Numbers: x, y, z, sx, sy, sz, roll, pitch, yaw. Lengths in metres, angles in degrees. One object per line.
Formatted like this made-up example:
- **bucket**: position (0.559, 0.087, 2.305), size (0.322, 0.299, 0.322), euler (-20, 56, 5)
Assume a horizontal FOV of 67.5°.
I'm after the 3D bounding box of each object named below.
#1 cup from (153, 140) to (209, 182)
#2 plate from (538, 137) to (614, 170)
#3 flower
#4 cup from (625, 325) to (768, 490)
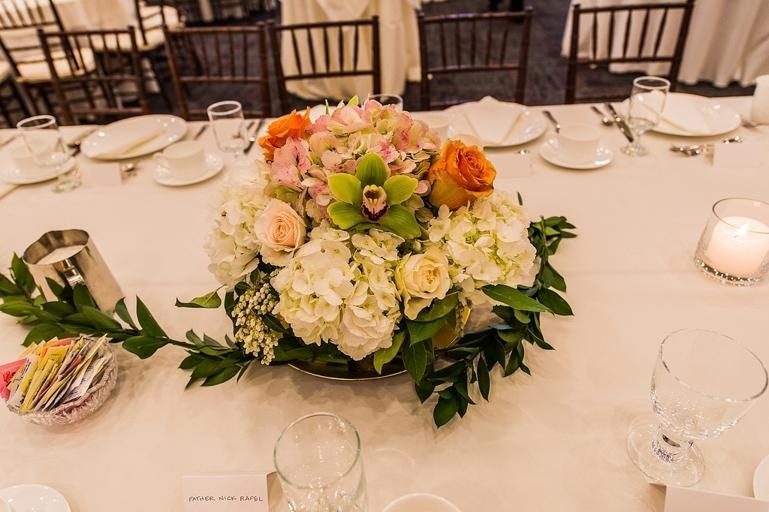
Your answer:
- **cup**: position (-0.622, -0.302, 1.789), size (0.155, 0.086, 0.114), euler (-14, 46, -19)
- **plate**: position (0.579, -0.315, 1.761), size (0.148, 0.055, 0.142), euler (21, 39, 40)
- **flower**: position (-0.160, 0.045, 1.389), size (0.866, 0.398, 0.830), euler (41, 68, 12)
- **cup**: position (0.619, 0.312, 1.137), size (0.165, 0.234, 0.159), euler (-1, 42, 0)
